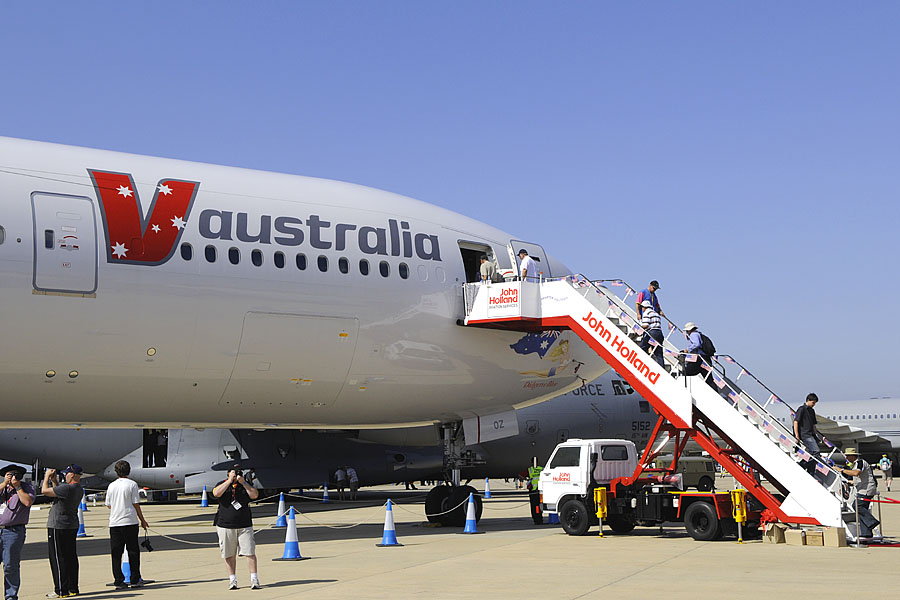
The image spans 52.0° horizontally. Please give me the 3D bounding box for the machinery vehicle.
[{"bbox_3d":[5.752,3.099,24.708,11.739,5.860,2.435,7,-14,-14],"label":"machinery vehicle"}]

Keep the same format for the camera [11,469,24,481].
[{"bbox_3d":[-8.482,3.455,18.167,0.201,0.209,0.206,-7,3,-40],"label":"camera"}]

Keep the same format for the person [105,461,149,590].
[{"bbox_3d":[-6.795,4.762,19.410,0.786,2.879,1.479,3,13,-18],"label":"person"}]

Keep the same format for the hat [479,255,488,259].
[{"bbox_3d":[1.005,-1.256,27.371,0.117,0.137,0.080,4,3,23],"label":"hat"}]
